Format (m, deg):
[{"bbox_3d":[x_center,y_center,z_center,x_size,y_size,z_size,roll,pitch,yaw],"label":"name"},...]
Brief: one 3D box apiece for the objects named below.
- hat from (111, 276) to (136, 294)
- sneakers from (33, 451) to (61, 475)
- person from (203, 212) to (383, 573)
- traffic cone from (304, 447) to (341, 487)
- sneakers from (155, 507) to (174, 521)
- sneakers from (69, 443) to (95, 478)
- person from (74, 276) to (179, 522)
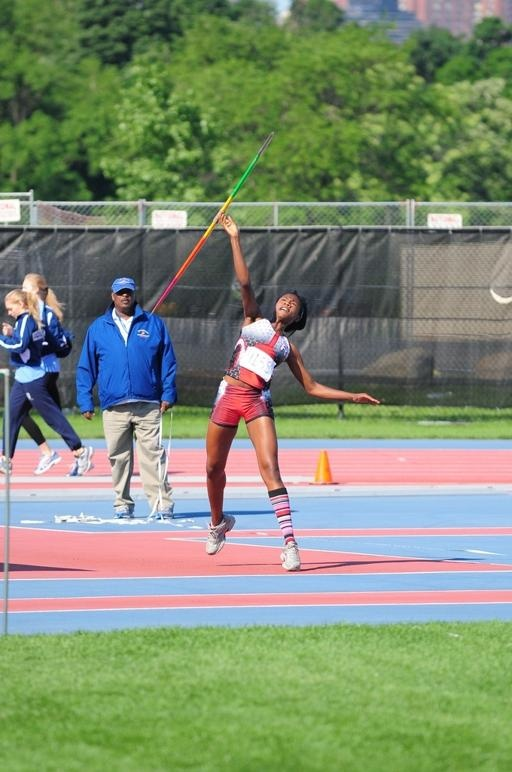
[{"bbox_3d":[-0.921,-0.696,10.685,0.146,0.092,0.219,-3,6,-10],"label":"hat"},{"bbox_3d":[-1.918,0.707,14.135,0.105,0.211,0.072,30,18,-50],"label":"sneakers"},{"bbox_3d":[0.094,0.023,9.132,0.984,2.050,0.969,4,-3,40],"label":"person"},{"bbox_3d":[0.579,0.730,13.620,0.247,0.351,0.263,0,-4,-7],"label":"traffic cone"},{"bbox_3d":[-0.684,0.931,11.283,0.075,0.079,0.126,2,8,14],"label":"sneakers"},{"bbox_3d":[-1.459,0.665,12.930,0.159,0.366,0.132,1,34,-23],"label":"sneakers"},{"bbox_3d":[-0.917,0.114,10.908,0.684,1.748,0.496,-2,6,-6],"label":"person"}]
